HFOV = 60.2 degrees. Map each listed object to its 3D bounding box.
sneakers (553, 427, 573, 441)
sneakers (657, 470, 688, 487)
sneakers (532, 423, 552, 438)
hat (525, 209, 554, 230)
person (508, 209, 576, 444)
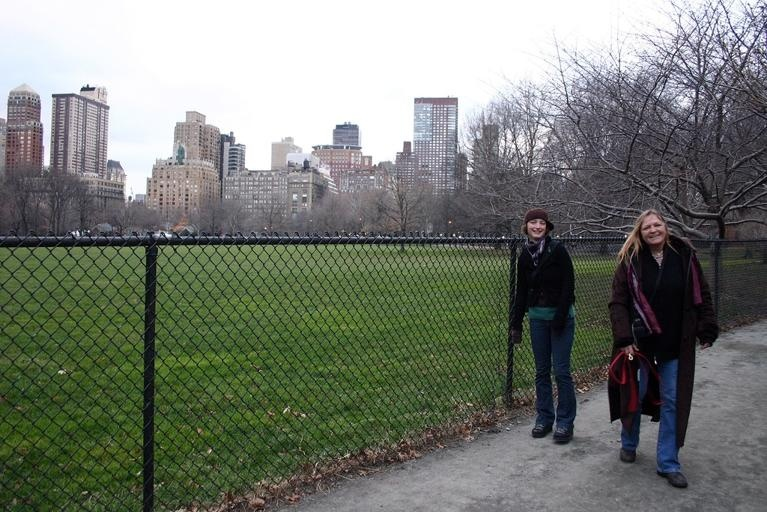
[{"bbox_3d":[2.411,2.390,8.770,0.109,0.144,0.343,-6,-17,26],"label":"sneakers"},{"bbox_3d":[3.531,2.674,7.967,0.131,0.143,0.324,6,-6,-28],"label":"sneakers"},{"bbox_3d":[2.167,2.377,8.968,0.329,0.139,0.111,10,-18,-31],"label":"sneakers"},{"bbox_3d":[2.169,-0.538,9.065,0.349,0.205,0.265,8,-13,1],"label":"hat"},{"bbox_3d":[2.262,0.907,8.960,0.647,3.004,1.137,-6,13,-22],"label":"person"}]
